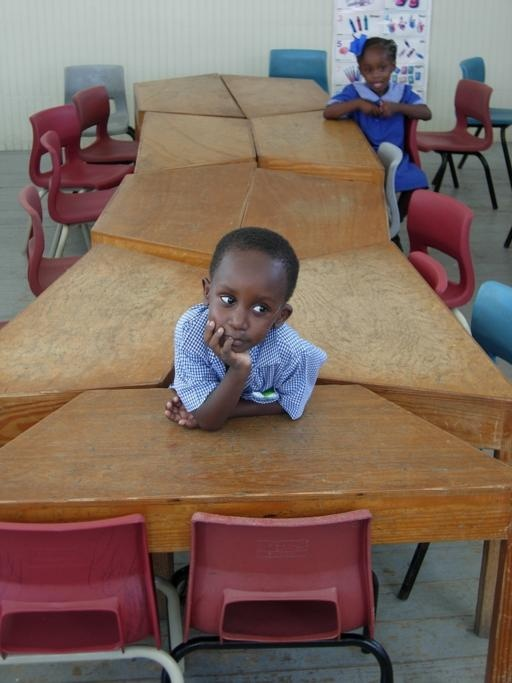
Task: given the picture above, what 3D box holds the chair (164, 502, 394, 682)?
[{"bbox_3d":[0.035,0.327,0.957,0.329,0.311,0.240,-1,32,-2],"label":"chair"}]
